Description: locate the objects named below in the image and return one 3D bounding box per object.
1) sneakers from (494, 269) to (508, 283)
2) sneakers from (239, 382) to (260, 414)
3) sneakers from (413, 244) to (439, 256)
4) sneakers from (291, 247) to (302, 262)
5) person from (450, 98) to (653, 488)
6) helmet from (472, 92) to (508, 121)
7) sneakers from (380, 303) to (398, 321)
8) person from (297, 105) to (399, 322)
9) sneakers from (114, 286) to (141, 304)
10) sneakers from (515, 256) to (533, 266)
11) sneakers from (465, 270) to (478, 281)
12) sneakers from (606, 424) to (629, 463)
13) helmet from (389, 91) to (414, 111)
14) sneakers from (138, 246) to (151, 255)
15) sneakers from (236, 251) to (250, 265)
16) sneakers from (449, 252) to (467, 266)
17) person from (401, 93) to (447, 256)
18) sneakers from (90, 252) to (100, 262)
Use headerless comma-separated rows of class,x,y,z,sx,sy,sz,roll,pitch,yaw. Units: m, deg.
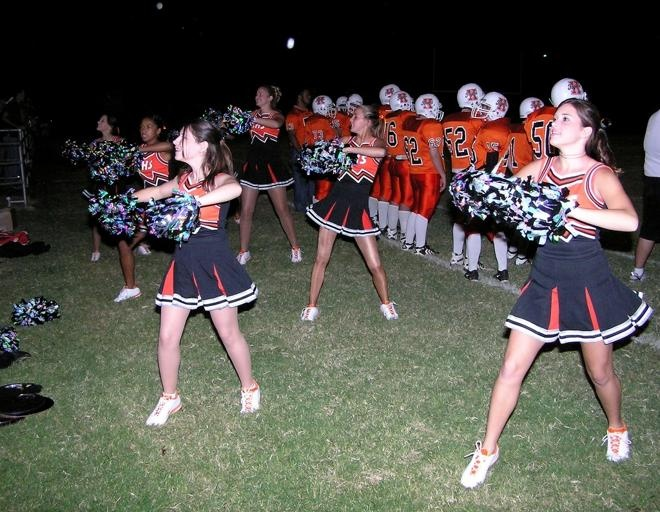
sneakers,2.095,0.238,5.887,0.084,0.104,0.239,-4,16,8
sneakers,-0.609,1.074,3.616,0.090,0.278,0.108,-8,-20,20
sneakers,1.335,-0.078,6.826,0.390,0.175,0.134,-5,25,-10
sneakers,-0.461,-0.012,6.501,0.081,0.105,0.244,-2,22,-3
person,1.368,0.236,2.886,1.133,2.242,0.559,-2,18,-3
helmet,2.068,-1.893,6.143,0.441,0.281,0.349,2,43,5
sneakers,0.606,0.569,4.890,0.110,0.094,0.214,-12,39,-6
person,0.249,-0.419,4.664,0.912,2.147,0.759,2,5,-18
sneakers,-2.276,0.427,5.484,0.316,0.148,0.120,-13,16,-32
sneakers,2.535,0.062,6.383,0.262,0.124,0.091,-6,30,-13
sneakers,1.723,0.233,5.890,0.068,0.083,0.190,-2,11,-11
sneakers,1.856,1.184,3.118,0.136,0.110,0.298,-7,28,40
helmet,1.127,-2.427,7.521,0.386,0.315,0.291,-5,48,-2
sneakers,-2.617,-0.087,6.789,0.151,0.055,0.135,41,48,4
sneakers,-1.091,0.023,6.072,0.110,0.133,0.304,3,13,12
sneakers,1.698,0.049,6.435,0.108,0.125,0.268,3,5,36
person,1.295,-1.118,6.751,0.575,2.105,0.810,1,18,8
sneakers,-3.213,0.024,6.602,0.088,0.141,0.144,7,45,-34
